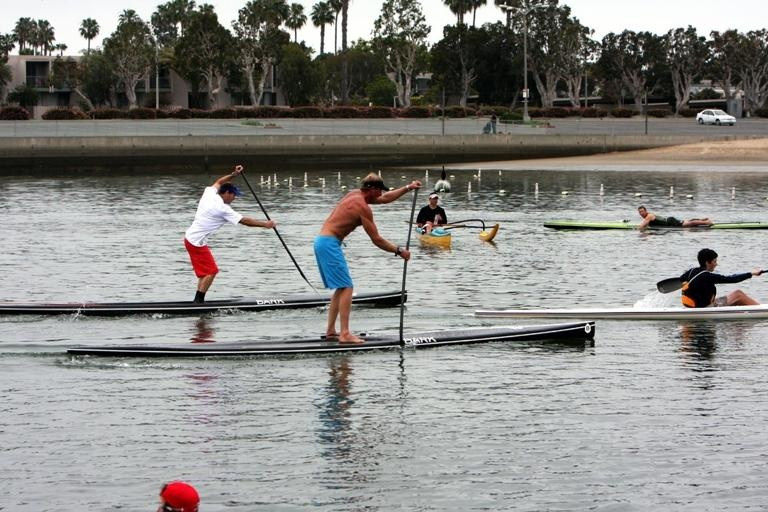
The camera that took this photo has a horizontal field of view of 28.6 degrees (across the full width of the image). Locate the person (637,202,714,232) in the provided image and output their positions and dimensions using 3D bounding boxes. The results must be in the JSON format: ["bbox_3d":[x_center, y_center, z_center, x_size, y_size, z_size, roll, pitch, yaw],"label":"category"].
[{"bbox_3d":[10.005,-1.269,52.878,3.541,0.597,0.890,-2,9,2],"label":"person"}]
